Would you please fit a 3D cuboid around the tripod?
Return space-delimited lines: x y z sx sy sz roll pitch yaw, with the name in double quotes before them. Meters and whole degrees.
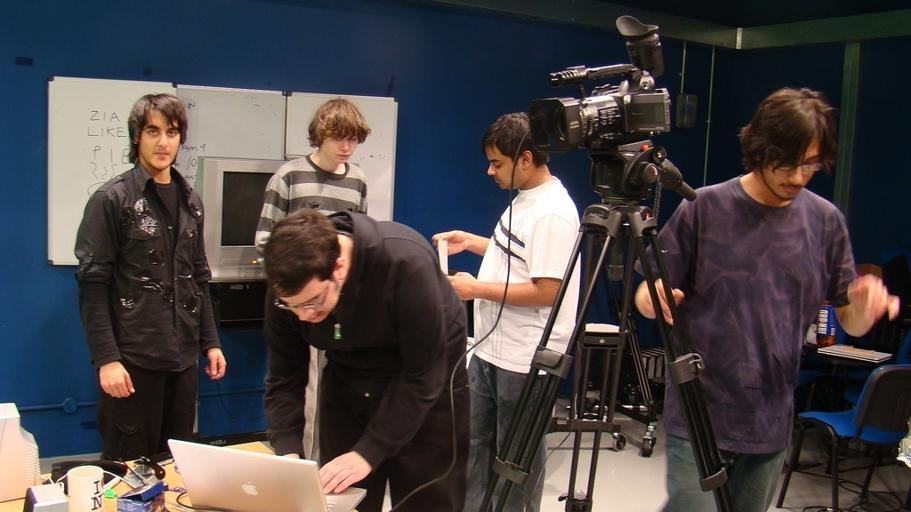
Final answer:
"tripod" 0.848 0.485 3.536 1.162 1.619 0.984 2 7 21

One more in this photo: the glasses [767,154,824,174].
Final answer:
"glasses" 1.890 -0.498 3.709 0.313 0.091 0.116 -3 6 -25
